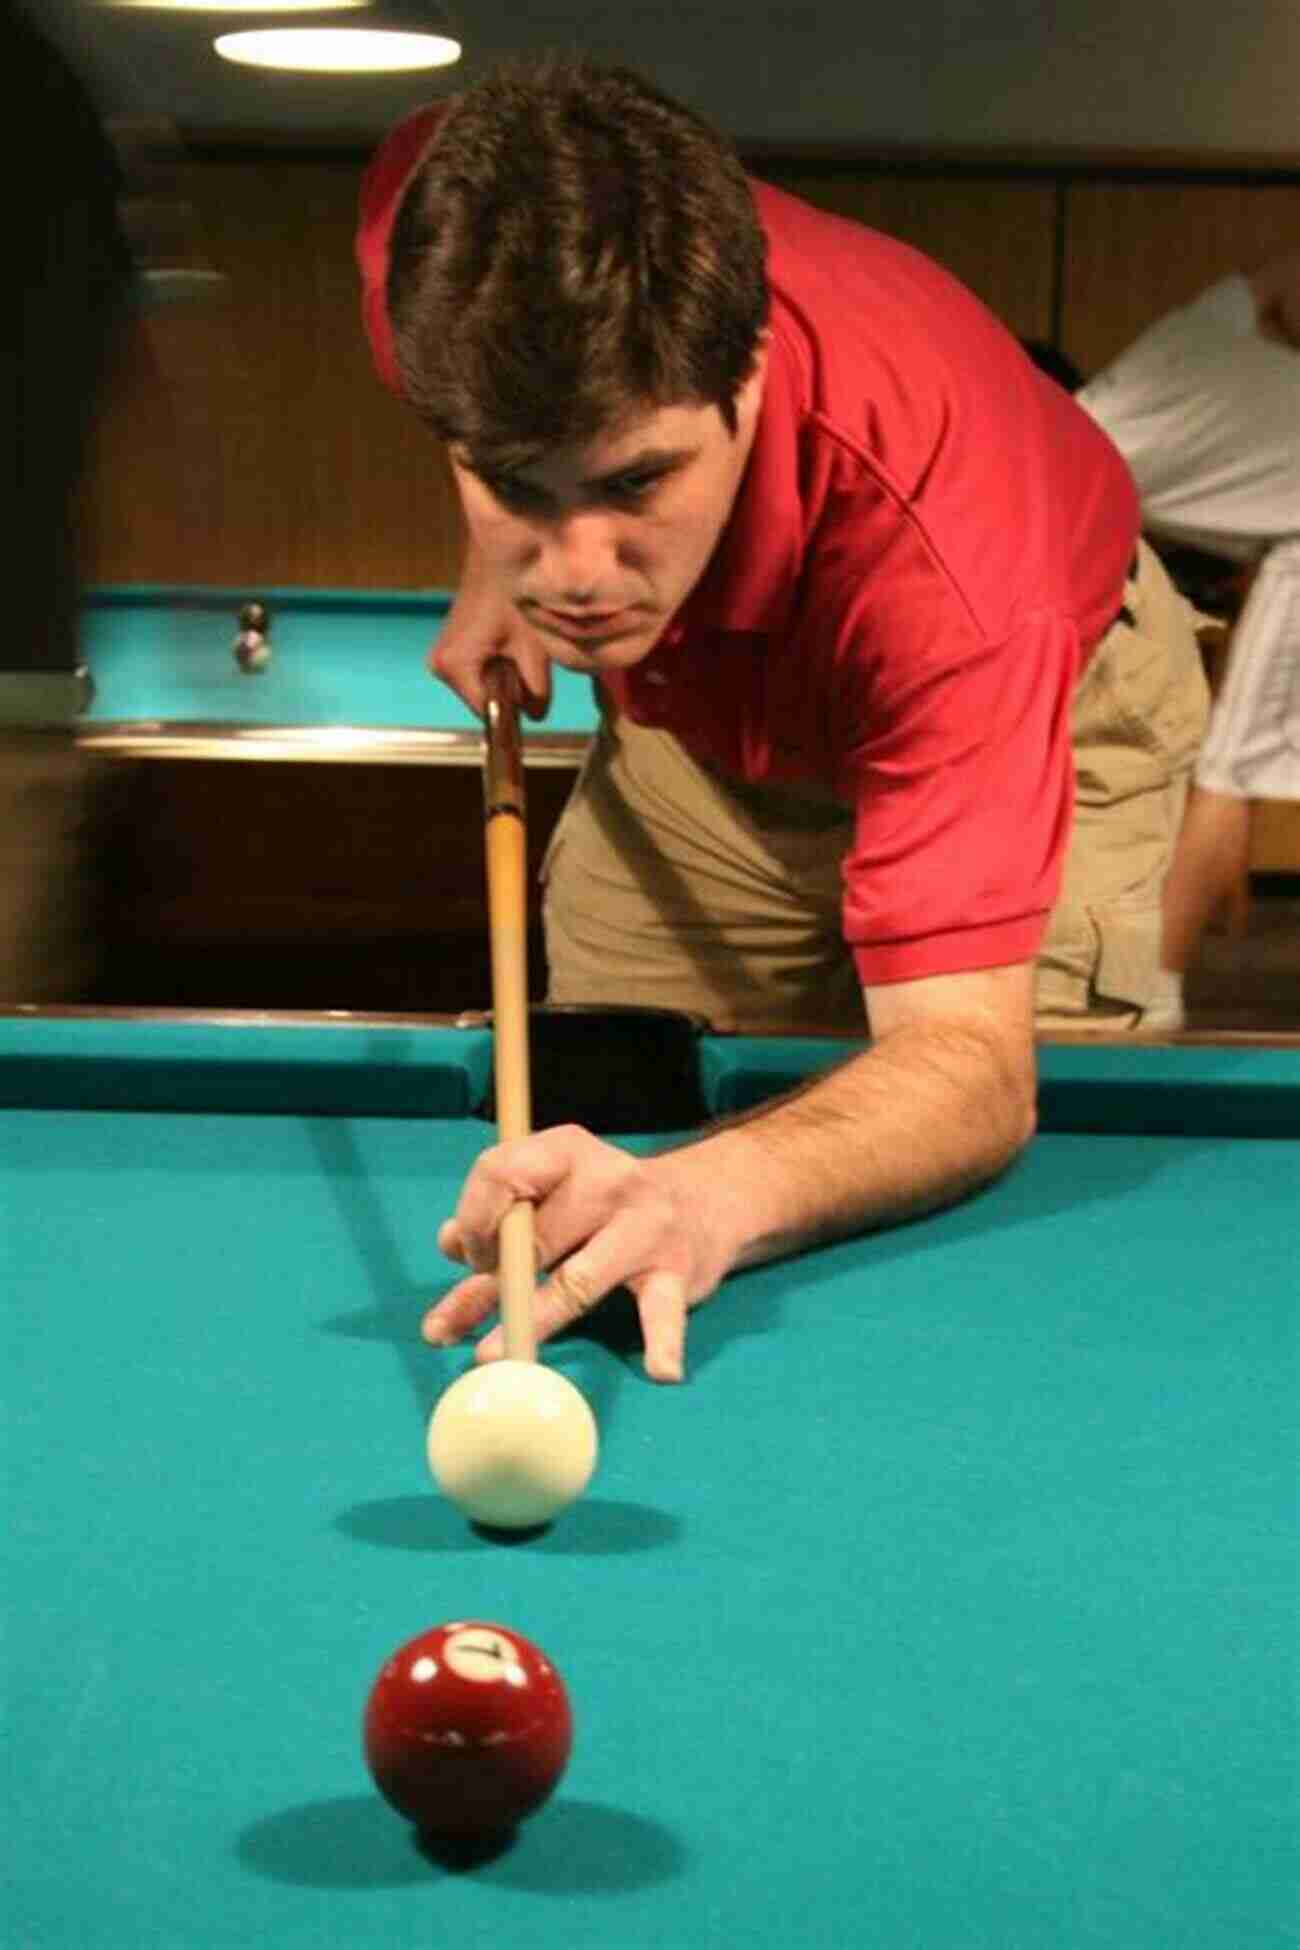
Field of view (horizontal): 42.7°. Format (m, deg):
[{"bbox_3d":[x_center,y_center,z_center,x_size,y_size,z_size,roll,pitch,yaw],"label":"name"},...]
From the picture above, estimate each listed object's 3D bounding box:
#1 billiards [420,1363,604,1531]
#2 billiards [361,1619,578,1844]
[{"bbox_3d":[-0.063,0.240,0.917,0.111,0.069,0.110,-6,19,-28],"label":"billiards"},{"bbox_3d":[-0.068,0.272,0.626,0.079,0.049,0.082,0,4,-39],"label":"billiards"}]
